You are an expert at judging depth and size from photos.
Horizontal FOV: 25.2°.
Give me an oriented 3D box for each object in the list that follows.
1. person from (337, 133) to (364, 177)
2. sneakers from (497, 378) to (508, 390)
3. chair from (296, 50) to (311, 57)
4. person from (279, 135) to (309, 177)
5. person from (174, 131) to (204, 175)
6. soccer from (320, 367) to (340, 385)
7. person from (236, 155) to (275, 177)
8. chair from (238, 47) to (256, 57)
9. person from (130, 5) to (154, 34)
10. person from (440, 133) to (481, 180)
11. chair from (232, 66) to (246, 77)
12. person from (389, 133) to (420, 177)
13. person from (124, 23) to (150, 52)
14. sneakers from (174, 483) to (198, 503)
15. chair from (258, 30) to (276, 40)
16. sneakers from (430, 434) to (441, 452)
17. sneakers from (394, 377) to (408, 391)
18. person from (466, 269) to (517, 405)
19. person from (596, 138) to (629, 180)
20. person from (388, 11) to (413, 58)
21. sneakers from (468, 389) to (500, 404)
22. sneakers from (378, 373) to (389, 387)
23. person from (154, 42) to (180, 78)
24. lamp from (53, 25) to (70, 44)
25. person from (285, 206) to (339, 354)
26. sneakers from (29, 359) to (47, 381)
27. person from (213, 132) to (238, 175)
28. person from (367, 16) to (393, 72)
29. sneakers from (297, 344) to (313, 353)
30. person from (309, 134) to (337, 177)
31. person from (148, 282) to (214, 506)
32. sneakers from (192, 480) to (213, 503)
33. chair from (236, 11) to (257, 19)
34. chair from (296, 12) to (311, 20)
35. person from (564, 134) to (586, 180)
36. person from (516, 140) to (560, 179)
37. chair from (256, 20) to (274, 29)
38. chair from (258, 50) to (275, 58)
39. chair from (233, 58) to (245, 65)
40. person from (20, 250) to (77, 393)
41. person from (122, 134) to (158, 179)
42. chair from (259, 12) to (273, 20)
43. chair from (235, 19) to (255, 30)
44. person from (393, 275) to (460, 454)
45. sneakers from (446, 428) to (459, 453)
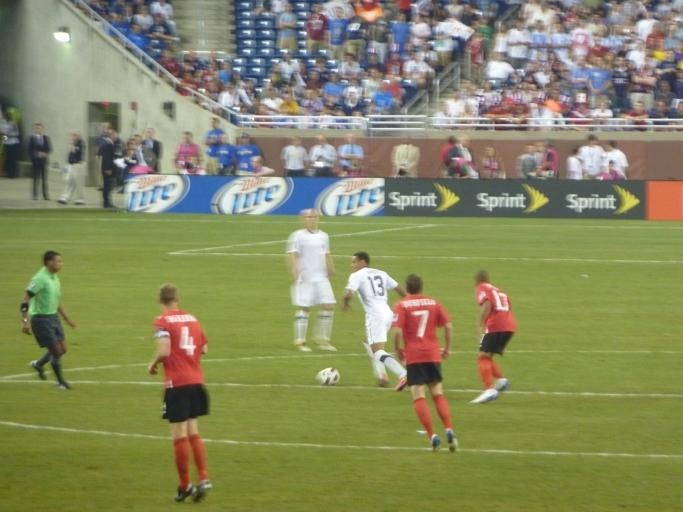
[{"bbox_3d":[0.263,-3.146,48.568,0.745,1.331,0.886,-1,2,-1],"label":"person"},{"bbox_3d":[3.206,2.604,30.311,0.194,0.192,0.243,0,6,24],"label":"sneakers"},{"bbox_3d":[-1.319,-7.068,53.245,0.402,0.213,0.373,-2,5,-8],"label":"chair"},{"bbox_3d":[-1.479,-3.098,48.439,0.770,1.239,0.754,-1,2,-3],"label":"person"},{"bbox_3d":[-4.908,-3.247,48.822,0.879,1.376,0.573,-1,2,-8],"label":"person"},{"bbox_3d":[-0.285,2.496,31.002,0.391,0.313,0.285,-29,23,-14],"label":"soccer"},{"bbox_3d":[-2.744,-2.836,48.351,1.135,0.626,0.634,-1,2,2],"label":"person"},{"bbox_3d":[-3.412,-7.378,55.178,0.522,0.279,0.488,-1,5,-21],"label":"chair"},{"bbox_3d":[-6.983,-8.198,52.902,1.102,0.950,0.540,-5,24,-27],"label":"person"},{"bbox_3d":[3.717,-3.048,47.925,1.150,1.333,0.670,-1,2,8],"label":"person"},{"bbox_3d":[-3.602,-6.579,53.935,0.554,0.484,0.345,-1,-20,-14],"label":"chair"},{"bbox_3d":[2.043,-3.134,48.754,0.851,1.285,0.578,-1,2,4],"label":"person"},{"bbox_3d":[-7.042,-7.574,52.527,0.457,0.988,0.934,0,2,32],"label":"person"},{"bbox_3d":[-2.760,4.263,26.874,0.534,0.232,0.189,-18,-8,33],"label":"sneakers"},{"bbox_3d":[-2.733,-8.037,55.400,0.734,0.473,0.611,-1,2,5],"label":"chair"},{"bbox_3d":[1.720,3.503,27.964,0.169,0.326,0.182,0,3,33],"label":"sneakers"},{"bbox_3d":[1.171,2.545,29.604,0.157,0.128,0.352,-30,-20,-35],"label":"sneakers"},{"bbox_3d":[2.976,1.658,30.224,0.871,2.649,0.572,-2,3,-24],"label":"person"},{"bbox_3d":[8.612,-2.980,48.299,0.816,1.178,2.021,-1,2,9],"label":"person"},{"bbox_3d":[1.971,-7.513,51.581,0.691,1.759,0.571,1,42,-6],"label":"person"},{"bbox_3d":[2.771,2.870,30.128,0.681,0.271,0.231,-17,15,20],"label":"sneakers"},{"bbox_3d":[0.840,2.574,30.482,0.176,0.174,0.274,1,-10,-4],"label":"sneakers"},{"bbox_3d":[-6.000,-6.785,52.752,0.725,1.236,1.007,-2,2,-10],"label":"person"},{"bbox_3d":[-9.010,-7.142,49.034,0.615,0.275,0.778,0,-4,-1],"label":"lamp"},{"bbox_3d":[-0.644,0.591,32.531,0.986,3.105,1.353,-1,2,-2],"label":"person"},{"bbox_3d":[-6.209,2.401,31.115,0.492,0.161,0.212,43,5,21],"label":"sneakers"},{"bbox_3d":[-3.664,-3.172,48.470,0.662,1.298,0.386,-1,2,-3],"label":"person"},{"bbox_3d":[1.234,-7.353,51.479,0.877,2.295,0.664,10,50,11],"label":"person"},{"bbox_3d":[-0.799,2.056,32.702,0.241,0.149,0.338,0,-3,-2],"label":"sneakers"},{"bbox_3d":[-0.590,-3.128,48.223,0.899,1.325,0.663,-1,2,11],"label":"person"},{"bbox_3d":[-2.814,2.485,26.837,0.957,3.877,0.517,-2,3,-6],"label":"person"},{"bbox_3d":[-2.461,4.192,26.766,0.235,0.507,0.197,50,32,20],"label":"sneakers"},{"bbox_3d":[-3.504,-8.929,56.332,0.692,0.315,0.330,-1,2,5],"label":"chair"},{"bbox_3d":[-1.451,-8.773,55.433,0.559,0.329,0.272,0,-17,0],"label":"chair"},{"bbox_3d":[7.344,-2.869,47.621,0.563,1.041,1.072,-1,2,8],"label":"person"},{"bbox_3d":[6.131,-2.977,47.592,1.224,1.136,0.856,-1,2,5],"label":"person"},{"bbox_3d":[-2.797,-8.490,55.815,0.617,0.406,0.466,-1,2,-1],"label":"chair"},{"bbox_3d":[-2.700,-7.322,54.790,0.430,0.237,0.432,6,7,38],"label":"chair"},{"bbox_3d":[-3.634,-6.986,54.681,0.436,0.280,0.259,4,-10,2],"label":"chair"},{"bbox_3d":[-5.947,1.348,30.810,0.986,2.816,1.234,-2,2,-10],"label":"person"},{"bbox_3d":[-6.508,-3.143,48.514,0.998,1.341,0.690,-2,2,-19],"label":"person"},{"bbox_3d":[-2.764,-8.862,56.081,0.636,0.304,0.354,-1,7,-13],"label":"chair"},{"bbox_3d":[-3.559,-8.537,56.079,0.706,0.452,0.449,-2,-8,11],"label":"chair"},{"bbox_3d":[1.521,2.012,28.310,1.069,3.252,0.997,-1,2,1],"label":"person"},{"bbox_3d":[2.042,3.472,27.990,0.173,0.450,0.219,-6,14,7],"label":"sneakers"}]
